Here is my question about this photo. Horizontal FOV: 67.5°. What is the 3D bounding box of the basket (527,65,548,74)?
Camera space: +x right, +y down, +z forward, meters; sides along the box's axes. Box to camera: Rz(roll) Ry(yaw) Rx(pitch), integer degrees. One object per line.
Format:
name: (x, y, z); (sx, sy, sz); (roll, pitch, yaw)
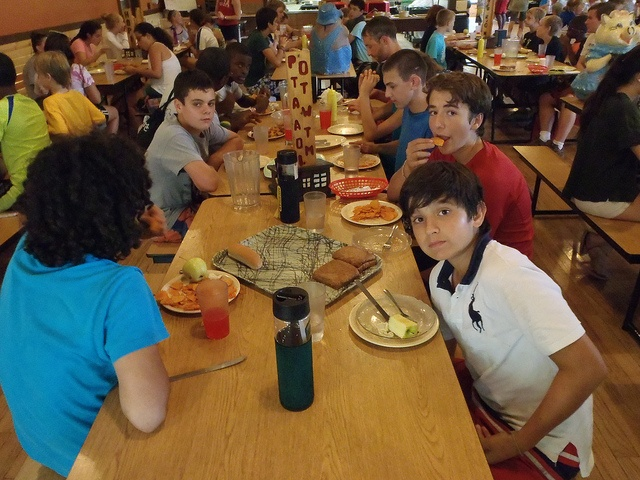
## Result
basket: (2.736, -2.155, 6.015); (0.130, 0.086, 0.215); (-11, 29, 20)

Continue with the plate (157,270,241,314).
plate: (-0.500, 0.142, 1.975); (0.253, 0.155, 0.297); (10, 25, 22)

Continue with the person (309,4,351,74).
person: (0.116, -2.489, 6.059); (0.537, 1.190, 0.571); (2, 21, -1)

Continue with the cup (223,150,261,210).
cup: (-0.440, -0.330, 2.760); (0.230, 0.333, 0.206); (-6, 26, -9)

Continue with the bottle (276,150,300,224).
bottle: (-0.179, -0.276, 2.460); (0.092, 0.351, 0.130); (-6, 27, -20)

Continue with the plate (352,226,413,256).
plate: (0.307, -0.016, 2.346); (0.241, 0.150, 0.264); (15, 26, 37)

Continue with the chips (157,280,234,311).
chips: (-0.559, 0.229, 1.930); (0.169, 0.029, 0.172); (21, 31, 35)

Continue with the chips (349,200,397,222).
chips: (0.283, -0.144, 2.509); (0.137, 0.037, 0.154); (-4, 31, -1)

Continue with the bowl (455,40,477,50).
bowl: (2.498, -3.362, 8.222); (0.359, 0.132, 0.370); (-1, 27, 1)

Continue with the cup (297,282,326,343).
cup: (-0.039, 0.249, 1.739); (0.097, 0.215, 0.101); (3, 24, -2)

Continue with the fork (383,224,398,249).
fork: (0.335, -0.012, 2.311); (0.035, 0.031, 0.216); (15, 34, 6)

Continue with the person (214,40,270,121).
person: (-0.724, -1.439, 4.712); (0.514, 0.952, 0.542); (1, 25, 2)

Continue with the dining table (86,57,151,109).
dining table: (-2.826, -2.239, 6.827); (0.774, 0.833, 0.968); (0, 27, -1)

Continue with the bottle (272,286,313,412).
bottle: (-0.100, 0.340, 1.503); (0.126, 0.365, 0.159); (-4, 26, -14)

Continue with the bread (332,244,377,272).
bread: (0.151, 0.065, 2.111); (0.106, 0.043, 0.135); (-27, 38, -36)

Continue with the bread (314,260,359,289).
bread: (0.070, 0.134, 2.014); (0.121, 0.035, 0.120); (-33, 45, -32)

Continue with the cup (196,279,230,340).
cup: (-0.392, 0.251, 1.827); (0.125, 0.202, 0.135); (-2, 13, 0)

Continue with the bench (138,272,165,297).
bench: (-0.878, 0.229, 2.522); (0.107, 0.064, 0.264); (-2, 37, -10)

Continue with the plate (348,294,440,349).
plate: (0.294, 0.292, 1.832); (0.292, 0.168, 0.271); (15, 26, 31)

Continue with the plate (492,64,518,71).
plate: (2.397, -2.247, 6.233); (0.279, 0.029, 0.388); (11, 35, 15)
